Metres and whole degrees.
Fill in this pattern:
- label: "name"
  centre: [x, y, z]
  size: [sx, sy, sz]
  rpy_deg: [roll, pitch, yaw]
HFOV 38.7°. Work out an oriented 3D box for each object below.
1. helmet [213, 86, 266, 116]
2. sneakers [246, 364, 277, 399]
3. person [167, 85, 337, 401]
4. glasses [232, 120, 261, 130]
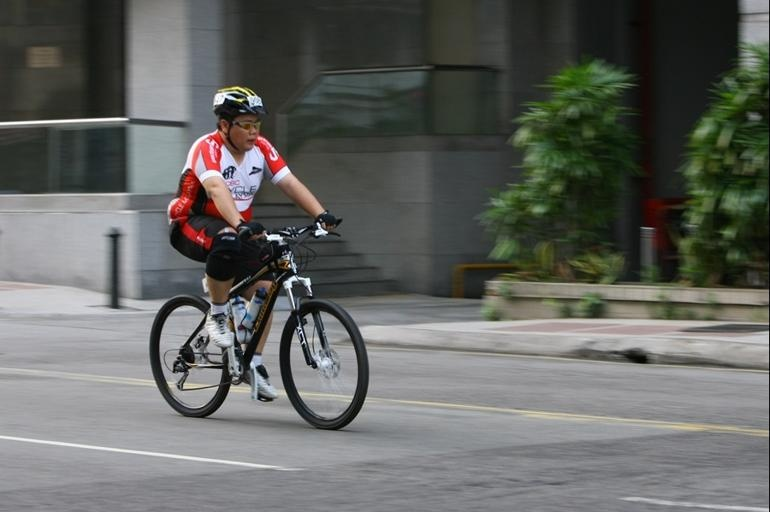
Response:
- label: "helmet"
  centre: [-1.258, -1.290, 9.088]
  size: [0.422, 0.156, 0.299]
  rpy_deg: [2, 4, 31]
- label: "sneakers"
  centre: [-1.032, 1.055, 9.260]
  size: [0.155, 0.180, 0.450]
  rpy_deg: [-18, 25, -40]
- label: "person"
  centre: [-1.177, -0.052, 9.155]
  size: [1.258, 2.703, 0.905]
  rpy_deg: [-2, 8, -4]
- label: "glasses"
  centre: [-1.114, -1.082, 9.028]
  size: [0.238, 0.075, 0.079]
  rpy_deg: [-5, 8, -31]
